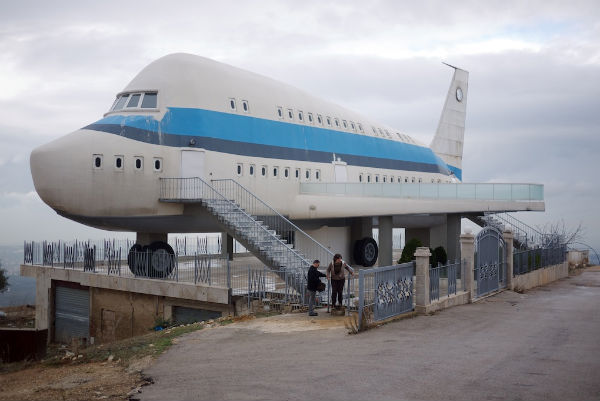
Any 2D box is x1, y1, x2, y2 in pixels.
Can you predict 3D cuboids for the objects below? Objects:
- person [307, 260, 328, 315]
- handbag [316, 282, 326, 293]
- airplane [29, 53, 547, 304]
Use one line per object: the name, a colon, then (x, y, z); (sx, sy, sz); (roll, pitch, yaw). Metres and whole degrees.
person: (0.605, 3.479, 22.311); (0.668, 2.212, 1.041); (-1, 3, -12)
handbag: (0.825, 3.471, 22.139); (0.252, 0.386, 0.269); (-2, -3, 3)
airplane: (-2.349, -1.815, 33.747); (20.696, 10.304, 16.160); (1, -2, -36)
